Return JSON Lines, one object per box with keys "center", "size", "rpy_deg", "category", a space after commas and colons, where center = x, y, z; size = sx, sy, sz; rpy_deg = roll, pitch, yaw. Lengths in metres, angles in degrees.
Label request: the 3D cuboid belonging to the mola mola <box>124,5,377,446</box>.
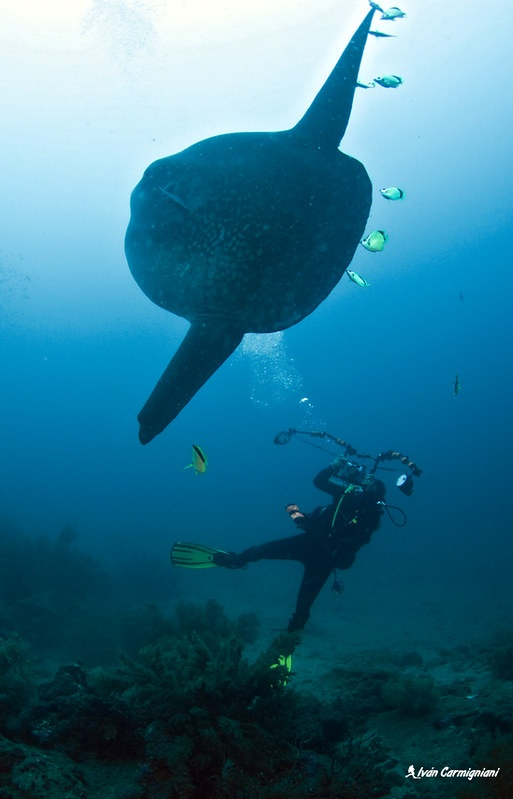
{"center": [-0.036, -1.530, 7.645], "size": [2.845, 2.997, 1.527], "rpy_deg": [-17, -40, 13], "category": "mola mola"}
